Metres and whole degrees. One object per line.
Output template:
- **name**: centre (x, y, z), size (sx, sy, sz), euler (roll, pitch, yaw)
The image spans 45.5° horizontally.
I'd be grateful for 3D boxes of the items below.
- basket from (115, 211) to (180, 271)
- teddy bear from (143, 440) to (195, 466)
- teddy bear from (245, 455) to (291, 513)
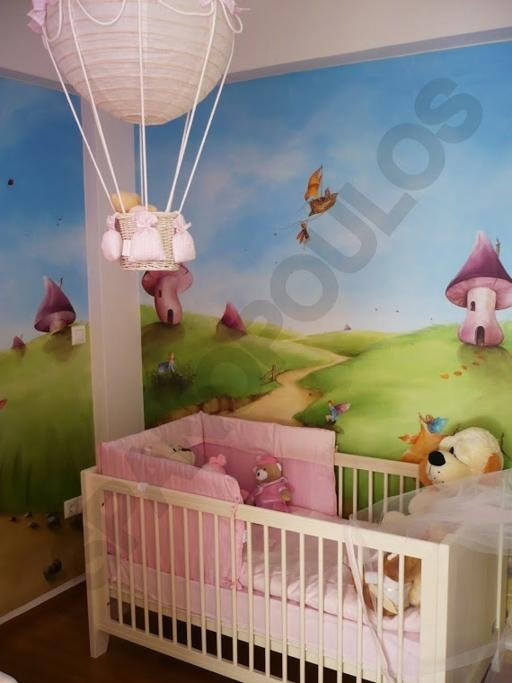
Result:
- **basket**: centre (-0.205, -0.204, 1.244), size (0.135, 0.097, 0.118), euler (0, 9, 3)
- **teddy bear**: centre (-0.357, 0.475, 2.577), size (0.111, 0.038, 0.177), euler (18, -1, 43)
- **teddy bear**: centre (0.061, 0.593, 2.505), size (0.143, 0.100, 0.177), euler (-30, 34, 27)
